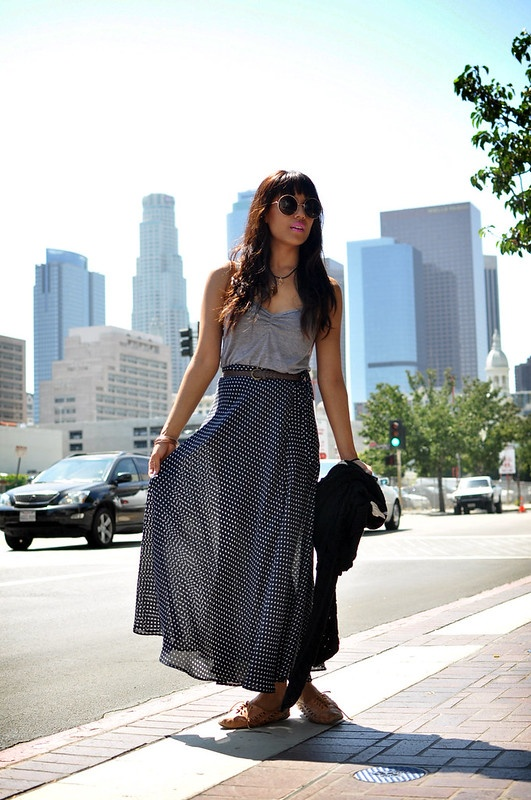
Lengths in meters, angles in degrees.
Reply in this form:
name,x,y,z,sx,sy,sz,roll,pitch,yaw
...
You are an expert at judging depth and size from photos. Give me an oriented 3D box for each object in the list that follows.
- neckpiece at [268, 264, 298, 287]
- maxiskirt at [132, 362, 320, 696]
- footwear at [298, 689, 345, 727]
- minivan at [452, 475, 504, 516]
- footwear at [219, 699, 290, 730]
name,x,y,z,sx,sy,sz,roll,pitch,yaw
neckpiece,0.068,-0.477,3.245,0.076,0.055,0.107,34,50,24
maxiskirt,-0.153,0.427,2.999,0.697,1.123,0.421,-2,-5,2
footwear,0.188,1.122,3.058,0.197,0.114,0.117,-4,-5,34
minivan,9.225,4.111,36.375,1.898,1.527,2.244,-2,-4,13
footwear,-0.043,1.115,3.014,0.212,0.064,0.107,1,-7,-18
